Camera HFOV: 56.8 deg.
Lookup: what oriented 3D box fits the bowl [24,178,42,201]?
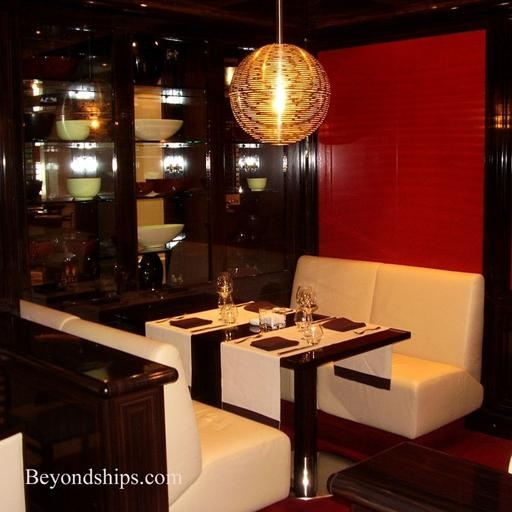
[{"bbox_3d":[-1.246,-0.371,2.646,0.109,0.130,0.095,3,8,0],"label":"bowl"}]

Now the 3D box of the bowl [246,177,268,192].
[{"bbox_3d":[0.008,-0.557,3.736,0.123,0.080,0.124,-1,5,0],"label":"bowl"}]

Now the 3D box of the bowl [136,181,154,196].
[{"bbox_3d":[-0.738,-0.443,3.095,0.078,0.066,0.090,-1,-3,-3],"label":"bowl"}]

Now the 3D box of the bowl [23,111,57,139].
[{"bbox_3d":[-1.216,-0.731,2.680,0.139,0.113,0.154,1,1,20],"label":"bowl"}]

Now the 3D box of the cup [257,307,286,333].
[{"bbox_3d":[0.083,0.352,2.633,0.118,0.117,0.114,-1,0,0],"label":"cup"}]

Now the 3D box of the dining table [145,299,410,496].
[{"bbox_3d":[0.047,0.797,2.777,0.792,0.754,1.467,-3,3,-39],"label":"dining table"}]

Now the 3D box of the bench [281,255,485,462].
[{"bbox_3d":[0.706,0.570,3.400,0.842,1.048,1.508,1,0,-39],"label":"bench"}]

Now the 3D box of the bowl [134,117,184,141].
[{"bbox_3d":[-0.670,-0.812,3.144,0.193,0.071,0.196,-4,6,0],"label":"bowl"}]

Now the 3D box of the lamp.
[{"bbox_3d":[0.108,-0.822,2.061,0.383,0.646,0.264,-5,7,-28],"label":"lamp"}]

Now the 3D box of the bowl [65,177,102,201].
[{"bbox_3d":[-1.049,-0.402,2.864,0.142,0.092,0.143,0,5,0],"label":"bowl"}]
